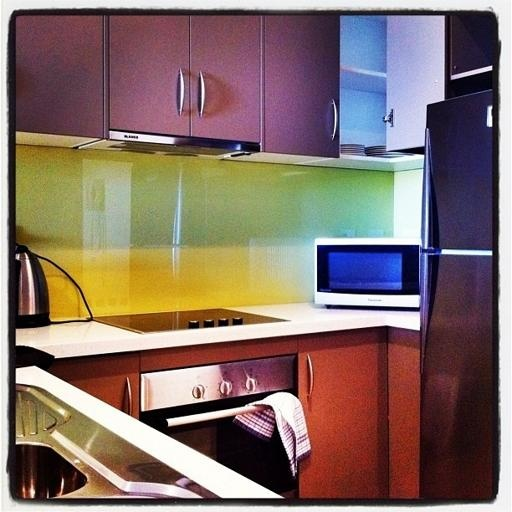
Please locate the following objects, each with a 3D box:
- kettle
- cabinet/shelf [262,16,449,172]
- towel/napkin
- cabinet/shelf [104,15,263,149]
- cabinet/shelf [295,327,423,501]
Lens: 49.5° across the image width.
[{"bbox_3d":[-0.721,0.100,1.805,0.113,0.266,0.096,1,1,-34],"label":"kettle"},{"bbox_3d":[0.386,-0.801,2.522,0.710,0.587,0.782,2,1,1],"label":"cabinet/shelf"},{"bbox_3d":[0.081,0.567,1.885,0.249,0.290,0.105,7,-10,-33],"label":"towel/napkin"},{"bbox_3d":[-0.247,-0.590,2.065,0.568,0.507,0.243,2,-12,-13],"label":"cabinet/shelf"},{"bbox_3d":[0.386,0.609,2.094,0.440,0.526,0.280,2,1,2],"label":"cabinet/shelf"}]
